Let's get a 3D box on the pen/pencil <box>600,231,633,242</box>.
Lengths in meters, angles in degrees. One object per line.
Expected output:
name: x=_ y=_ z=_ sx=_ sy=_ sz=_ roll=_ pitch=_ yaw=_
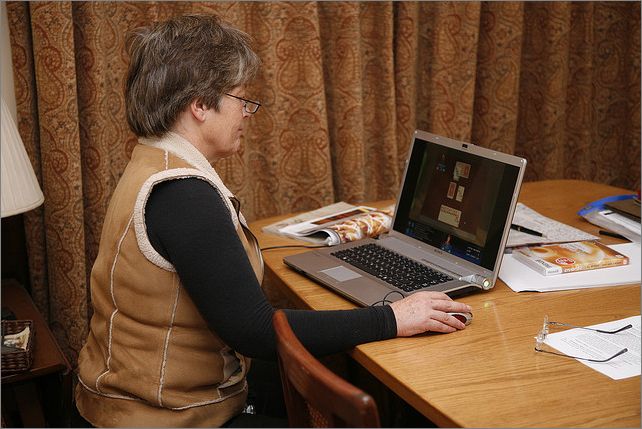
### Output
pen/pencil: x=1.003 y=0.077 z=1.609 sx=0.082 sy=0.009 sz=0.009 roll=23 pitch=16 yaw=32

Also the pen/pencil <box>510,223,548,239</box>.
pen/pencil: x=0.707 y=0.060 z=1.620 sx=0.117 sy=0.017 sz=0.018 roll=22 pitch=7 yaw=37

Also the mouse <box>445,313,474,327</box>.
mouse: x=0.353 y=0.266 z=1.188 sx=0.047 sy=0.015 sz=0.030 roll=9 pitch=11 yaw=4

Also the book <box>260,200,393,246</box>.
book: x=0.031 y=0.038 z=1.699 sx=0.256 sy=0.057 sz=0.232 roll=-17 pitch=22 yaw=-39

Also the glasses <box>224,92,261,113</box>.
glasses: x=-0.242 y=-0.326 z=1.372 sx=0.103 sy=0.028 sz=0.102 roll=24 pitch=10 yaw=20

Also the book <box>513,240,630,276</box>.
book: x=0.749 y=0.129 z=1.423 sx=0.193 sy=0.019 sz=0.137 roll=-6 pitch=16 yaw=-17
